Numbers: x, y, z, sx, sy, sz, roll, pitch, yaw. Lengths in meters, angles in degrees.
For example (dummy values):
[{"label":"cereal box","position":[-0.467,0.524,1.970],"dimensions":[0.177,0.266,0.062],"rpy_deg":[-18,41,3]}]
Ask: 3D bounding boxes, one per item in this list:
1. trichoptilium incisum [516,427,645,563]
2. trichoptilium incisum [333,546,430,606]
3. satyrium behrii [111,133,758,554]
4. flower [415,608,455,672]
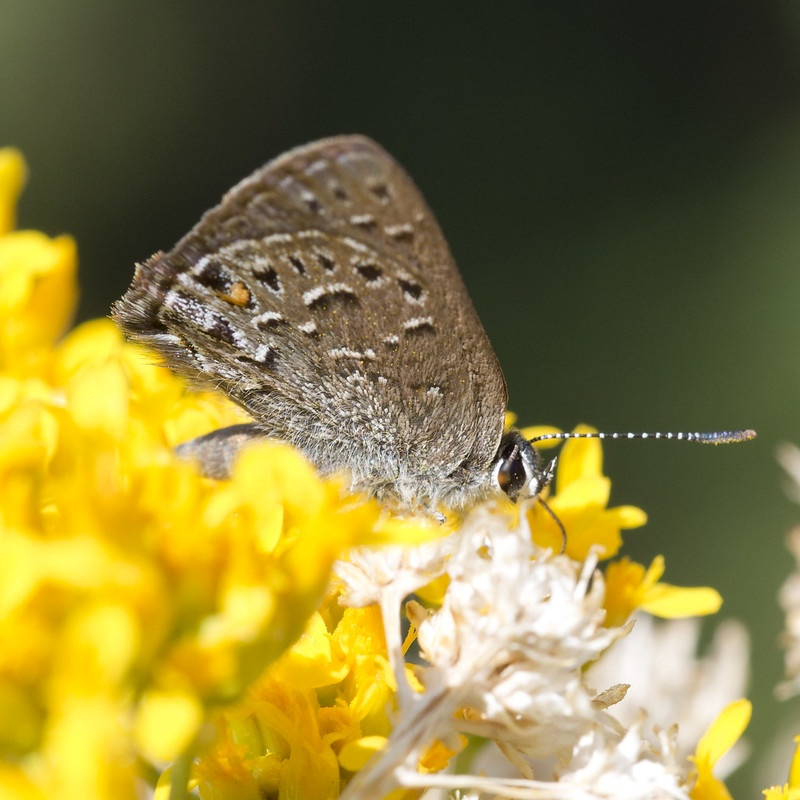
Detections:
[{"label":"trichoptilium incisum","position":[0.206,0.107,1.250],"dimensions":[0.105,0.147,0.089],"rpy_deg":[3,6,-12]},{"label":"trichoptilium incisum","position":[-0.015,0.162,1.039],"dimensions":[0.098,0.053,0.065],"rpy_deg":[-1,3,-4]},{"label":"satyrium behrii","position":[-0.006,-0.072,1.562],"dimensions":[0.804,0.581,0.462],"rpy_deg":[-6,1,-3]},{"label":"flower","position":[0.032,0.203,0.939],"dimensions":[0.023,0.039,0.044],"rpy_deg":[9,54,-32]}]
